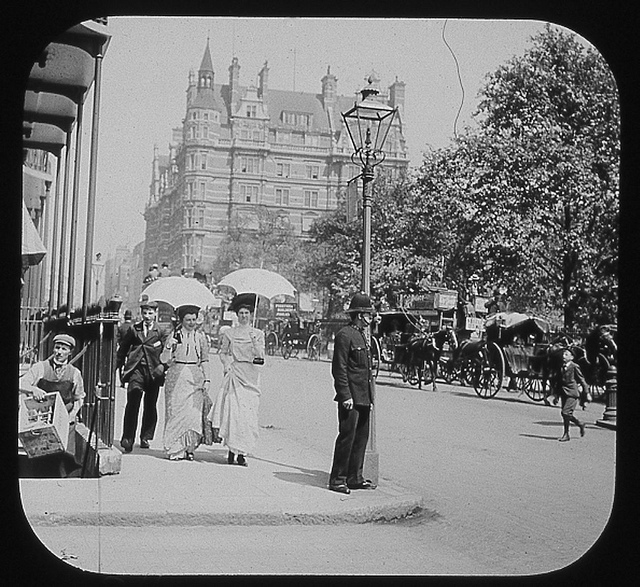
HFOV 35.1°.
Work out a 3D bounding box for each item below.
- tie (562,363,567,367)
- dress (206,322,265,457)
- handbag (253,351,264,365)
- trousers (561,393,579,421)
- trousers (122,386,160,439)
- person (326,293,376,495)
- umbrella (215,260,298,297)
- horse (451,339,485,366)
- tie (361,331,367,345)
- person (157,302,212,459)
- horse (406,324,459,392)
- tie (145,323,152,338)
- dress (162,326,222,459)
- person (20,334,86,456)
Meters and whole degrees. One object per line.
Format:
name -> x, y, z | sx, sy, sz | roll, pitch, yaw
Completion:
tie -> 3.202, 0.928, 13.266 | 0.044, 0.054, 0.025 | 0, 3, 37
dress -> -0.946, 1.059, 11.391 | 0.559, 1.484, 0.338 | 3, 2, -5
handbag -> -0.677, 0.723, 11.388 | 0.106, 0.142, 0.230 | 5, 2, 17
trousers -> 3.289, 1.491, 13.400 | 0.189, 0.312, 0.420 | 4, 2, 14
trousers -> -2.149, 1.419, 12.125 | 0.474, 0.676, 0.353 | 3, 2, -32
person -> 0.355, 1.020, 10.552 | 0.358, 1.462, 0.576 | 5, 2, 39
umbrella -> -0.790, -0.210, 12.633 | 0.771, 0.396, 0.874 | 22, 5, -6
horse -> 2.696, 1.095, 18.903 | 0.217, 0.392, 1.204 | 3, 3, -12
tie -> 0.461, 0.453, 10.557 | 0.020, 0.094, 0.059 | -13, -13, 26
person -> -1.512, 0.996, 11.521 | 0.482, 1.696, 0.458 | 3, 2, -11
horse -> 2.076, 1.391, 20.555 | 0.337, 1.234, 1.598 | -8, -10, 19
tie -> -2.099, 0.431, 12.319 | 0.052, 0.211, 0.035 | 10, -45, -13
dress -> -1.453, 1.030, 11.457 | 0.567, 1.730, 0.492 | 3, 8, -3
person -> -2.686, 1.051, 10.146 | 0.813, 1.294, 0.601 | 2, 2, -34
